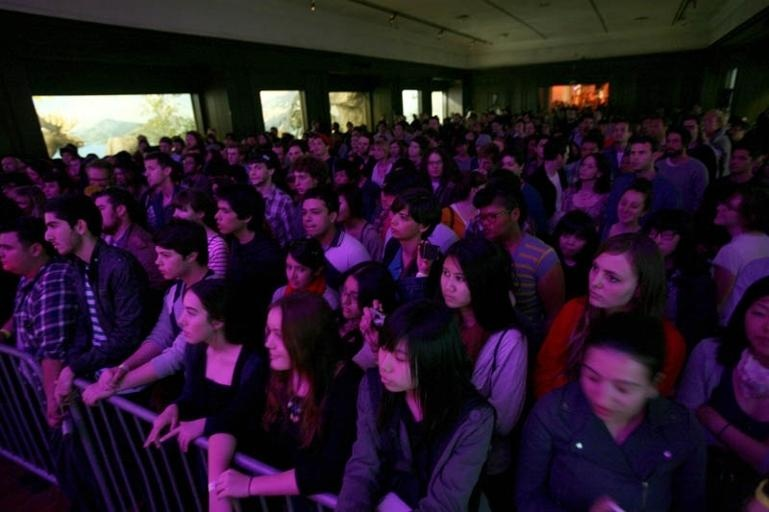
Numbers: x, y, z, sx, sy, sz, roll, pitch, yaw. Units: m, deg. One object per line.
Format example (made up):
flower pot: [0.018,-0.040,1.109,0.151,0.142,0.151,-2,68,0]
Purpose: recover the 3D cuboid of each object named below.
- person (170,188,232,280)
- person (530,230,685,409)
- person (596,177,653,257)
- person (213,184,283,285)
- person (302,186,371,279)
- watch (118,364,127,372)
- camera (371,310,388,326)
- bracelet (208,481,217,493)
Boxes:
person: [-1.847,-0.206,5.604,0.450,0.836,0.767,-9,19,-30]
person: [1.913,0.640,4.726,0.864,1.585,1.113,-11,22,-44]
person: [2.727,-0.477,6.175,0.409,0.828,0.396,28,42,33]
person: [-1.520,-0.262,6.069,0.692,1.106,1.184,-11,25,-29]
person: [-0.567,-0.224,5.871,0.964,0.926,0.586,-1,7,37]
watch: [-2.300,0.985,4.904,0.056,0.053,0.056,9,46,15]
camera: [-0.053,0.509,4.546,0.166,0.160,0.092,2,7,13]
bracelet: [-1.353,1.806,4.359,0.077,0.057,0.078,-2,-4,2]
